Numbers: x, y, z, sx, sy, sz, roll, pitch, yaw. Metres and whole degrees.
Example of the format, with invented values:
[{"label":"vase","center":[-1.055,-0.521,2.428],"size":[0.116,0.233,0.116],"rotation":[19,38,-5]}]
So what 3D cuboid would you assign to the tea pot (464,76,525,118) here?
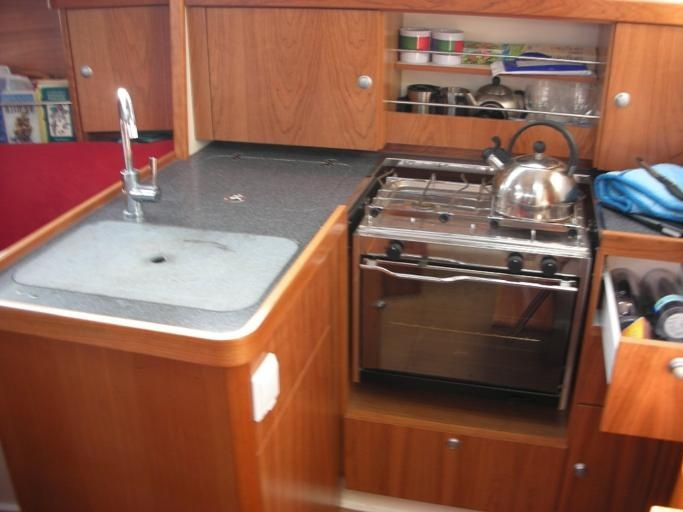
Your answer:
[{"label":"tea pot","center":[0.561,-0.583,2.108],"size":[0.144,0.097,0.248],"rotation":[8,16,22]}]

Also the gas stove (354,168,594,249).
[{"label":"gas stove","center":[0.426,-0.143,1.898],"size":[0.577,0.081,0.302],"rotation":[5,40,7]}]

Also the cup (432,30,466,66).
[{"label":"cup","center":[0.382,-0.780,2.163],"size":[0.145,0.126,0.133],"rotation":[-1,40,0]}]

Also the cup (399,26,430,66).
[{"label":"cup","center":[0.261,-0.794,2.205],"size":[0.148,0.120,0.130],"rotation":[-12,40,-14]}]

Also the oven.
[{"label":"oven","center":[0.401,0.236,2.190],"size":[0.961,0.749,0.540],"rotation":[6,37,12]}]

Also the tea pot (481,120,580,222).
[{"label":"tea pot","center":[0.565,-0.246,1.905],"size":[0.356,0.298,0.286],"rotation":[15,37,20]}]
